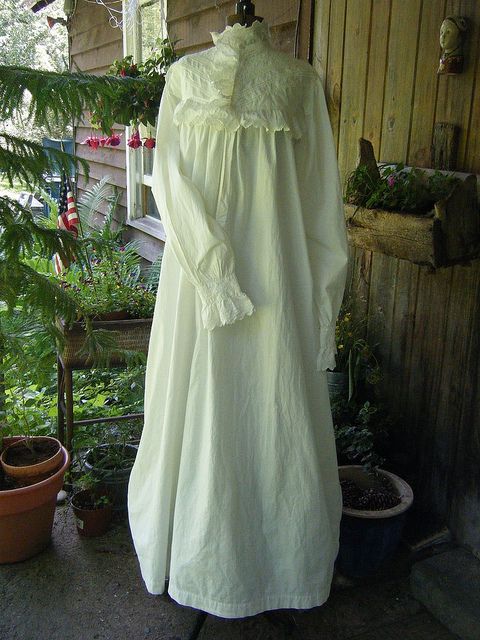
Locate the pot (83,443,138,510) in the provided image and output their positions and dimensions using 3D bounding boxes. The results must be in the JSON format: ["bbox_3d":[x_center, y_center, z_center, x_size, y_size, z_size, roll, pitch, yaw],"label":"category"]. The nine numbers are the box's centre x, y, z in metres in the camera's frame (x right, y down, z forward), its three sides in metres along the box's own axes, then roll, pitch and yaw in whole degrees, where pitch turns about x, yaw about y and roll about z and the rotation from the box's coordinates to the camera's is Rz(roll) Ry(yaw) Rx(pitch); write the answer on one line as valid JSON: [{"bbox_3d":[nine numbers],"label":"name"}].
[{"bbox_3d":[-0.528,0.607,2.209,0.260,0.244,0.287,1,9,-10],"label":"pot"}]

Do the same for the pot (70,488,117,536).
[{"bbox_3d":[-0.552,0.709,2.009,0.126,0.132,0.161,1,8,6],"label":"pot"}]

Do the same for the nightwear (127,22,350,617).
[{"bbox_3d":[-0.033,0.012,1.352,0.590,1.430,0.343,3,8,16],"label":"nightwear"}]

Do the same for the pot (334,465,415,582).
[{"bbox_3d":[0.399,0.705,1.826,0.267,0.261,0.295,14,12,36],"label":"pot"}]
